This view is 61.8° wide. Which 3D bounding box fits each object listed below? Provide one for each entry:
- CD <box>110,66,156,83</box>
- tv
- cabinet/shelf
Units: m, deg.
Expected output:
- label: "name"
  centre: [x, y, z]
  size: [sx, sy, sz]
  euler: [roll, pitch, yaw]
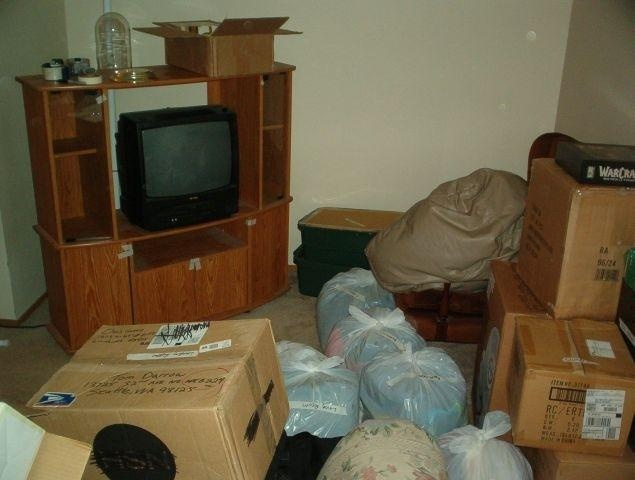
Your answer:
- label: "CD"
  centre: [-1.020, -0.903, 2.934]
  size: [0.234, 0.075, 0.262]
  euler: [-11, 22, -29]
- label: "tv"
  centre: [-0.818, -0.423, 3.203]
  size: [0.672, 0.690, 0.227]
  euler: [-11, 23, -28]
- label: "cabinet/shelf"
  centre: [-0.993, -0.197, 3.112]
  size: [1.602, 1.521, 0.535]
  euler: [-13, 26, -31]
